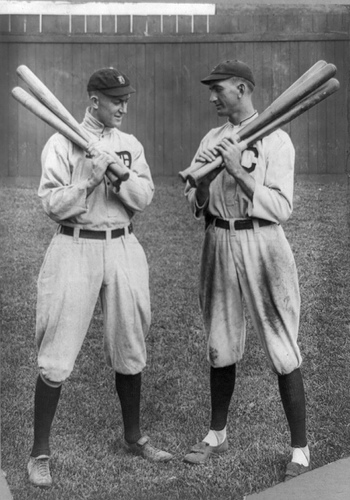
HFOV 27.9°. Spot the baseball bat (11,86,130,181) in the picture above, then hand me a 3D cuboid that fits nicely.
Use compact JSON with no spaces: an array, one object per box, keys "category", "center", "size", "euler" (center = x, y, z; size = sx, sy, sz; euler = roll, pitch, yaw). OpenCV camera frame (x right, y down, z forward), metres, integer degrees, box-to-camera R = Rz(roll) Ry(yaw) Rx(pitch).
[{"category":"baseball bat","center":[-0.454,-0.526,3.117],"size":[0.065,0.566,0.068],"euler":[-44,-2,-8]}]

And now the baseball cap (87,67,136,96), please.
[{"category":"baseball cap","center":[-0.289,-0.754,3.096],"size":[0.157,0.101,0.121],"euler":[8,20,28]}]

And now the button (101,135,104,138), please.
[{"category":"button","center":[-0.323,-0.508,3.156],"size":[0.011,0.013,0.003],"euler":[-2,4,-43]}]

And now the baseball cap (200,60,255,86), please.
[{"category":"baseball cap","center":[0.247,-0.787,3.185],"size":[0.150,0.096,0.124],"euler":[6,4,-7]}]

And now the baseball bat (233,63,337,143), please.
[{"category":"baseball bat","center":[0.494,-0.697,3.260],"size":[0.492,0.058,0.096],"euler":[-45,55,-6]}]

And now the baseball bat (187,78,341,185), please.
[{"category":"baseball bat","center":[0.384,-0.566,3.241],"size":[0.636,0.109,0.105],"euler":[-44,19,-4]}]
